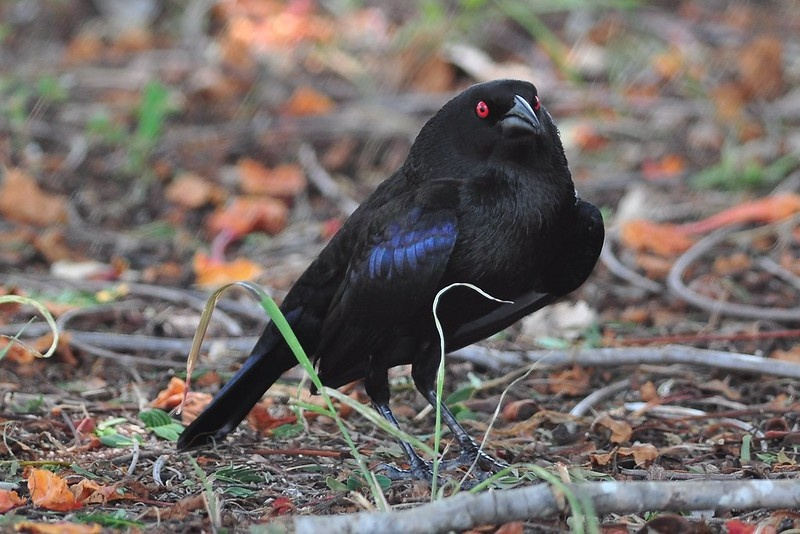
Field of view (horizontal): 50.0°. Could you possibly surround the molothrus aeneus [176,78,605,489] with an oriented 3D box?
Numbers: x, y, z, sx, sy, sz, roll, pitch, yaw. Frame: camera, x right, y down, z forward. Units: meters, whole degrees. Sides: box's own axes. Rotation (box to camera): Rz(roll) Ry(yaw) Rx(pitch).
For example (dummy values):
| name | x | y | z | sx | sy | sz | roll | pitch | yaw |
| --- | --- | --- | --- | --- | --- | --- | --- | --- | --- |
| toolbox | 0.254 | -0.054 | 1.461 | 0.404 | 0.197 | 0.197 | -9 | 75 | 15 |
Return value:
| name | x | y | z | sx | sy | sz | roll | pitch | yaw |
| --- | --- | --- | --- | --- | --- | --- | --- | --- | --- |
| molothrus aeneus | -0.064 | -0.074 | 5.237 | 2.254 | 2.218 | 1.863 | 2 | 0 | -24 |
